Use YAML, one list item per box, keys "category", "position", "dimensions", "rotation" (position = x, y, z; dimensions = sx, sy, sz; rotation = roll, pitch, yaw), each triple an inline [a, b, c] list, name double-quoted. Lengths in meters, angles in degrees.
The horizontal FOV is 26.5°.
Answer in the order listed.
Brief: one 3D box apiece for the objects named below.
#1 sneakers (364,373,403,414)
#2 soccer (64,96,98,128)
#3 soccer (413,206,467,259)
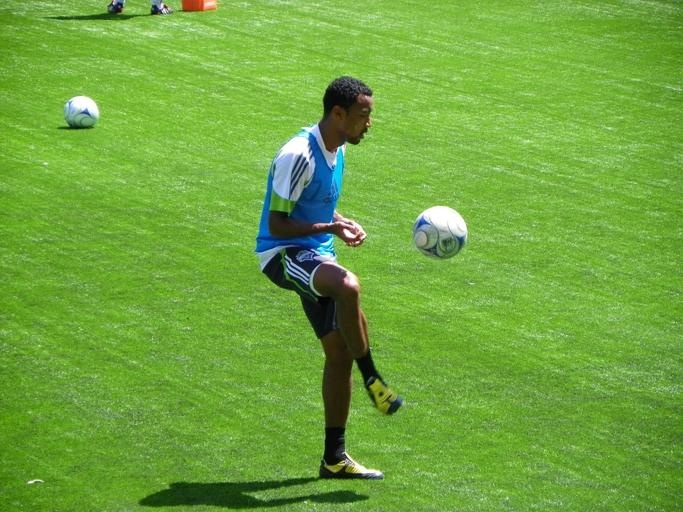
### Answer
- category: "sneakers"
  position: [0.397, 1.258, 13.213]
  dimensions: [0.459, 0.194, 0.197]
  rotation: [34, 7, 5]
- category: "soccer"
  position: [-3.481, -1.900, 19.463]
  dimensions: [0.461, 0.420, 0.353]
  rotation: [6, 12, -11]
- category: "soccer"
  position: [0.988, -0.220, 14.530]
  dimensions: [0.631, 0.483, 0.604]
  rotation: [2, 14, 12]
